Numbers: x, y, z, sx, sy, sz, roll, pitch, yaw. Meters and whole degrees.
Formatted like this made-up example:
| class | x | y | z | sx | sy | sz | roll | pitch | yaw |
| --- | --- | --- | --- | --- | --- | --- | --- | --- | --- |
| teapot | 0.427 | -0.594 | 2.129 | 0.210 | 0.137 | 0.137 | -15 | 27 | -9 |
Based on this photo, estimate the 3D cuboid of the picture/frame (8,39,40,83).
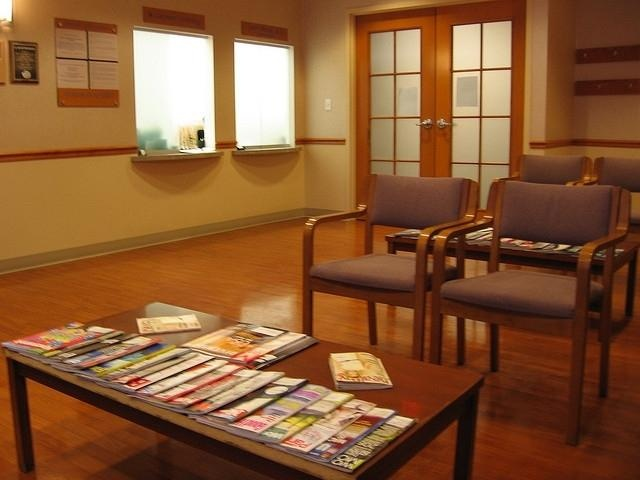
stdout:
| class | x | y | z | sx | sy | sz | roll | pitch | yaw |
| --- | --- | --- | --- | --- | --- | --- | --- | --- | --- |
| picture/frame | -2.666 | -1.604 | 4.413 | 0.063 | 0.373 | 0.258 | 9 | 16 | 31 |
